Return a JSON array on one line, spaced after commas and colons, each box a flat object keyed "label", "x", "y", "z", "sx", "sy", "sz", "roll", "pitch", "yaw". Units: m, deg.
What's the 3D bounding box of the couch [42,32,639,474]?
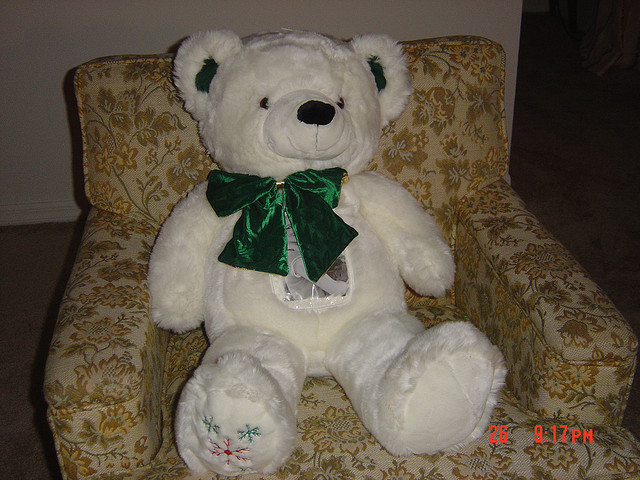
[{"label": "couch", "x": 0.029, "y": 0.196, "z": 2.270, "sx": 1.546, "sy": 1.210, "sz": 1.486, "roll": -5, "pitch": 60, "yaw": 1}]

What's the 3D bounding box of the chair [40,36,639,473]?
[{"label": "chair", "x": 0.073, "y": 0.232, "z": 2.282, "sx": 1.552, "sy": 1.218, "sz": 1.497, "roll": -4, "pitch": 58, "yaw": 1}]

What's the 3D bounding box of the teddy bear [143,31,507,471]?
[{"label": "teddy bear", "x": 0.037, "y": -0.051, "z": 1.543, "sx": 0.958, "sy": 0.834, "sz": 0.705, "roll": 11, "pitch": 36, "yaw": 18}]
